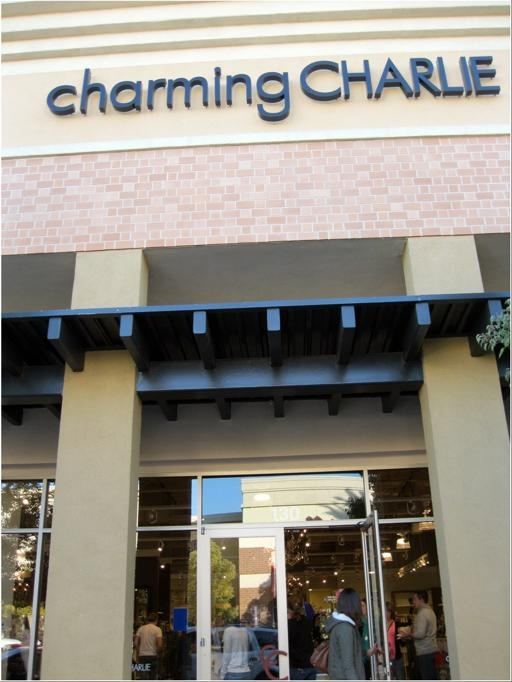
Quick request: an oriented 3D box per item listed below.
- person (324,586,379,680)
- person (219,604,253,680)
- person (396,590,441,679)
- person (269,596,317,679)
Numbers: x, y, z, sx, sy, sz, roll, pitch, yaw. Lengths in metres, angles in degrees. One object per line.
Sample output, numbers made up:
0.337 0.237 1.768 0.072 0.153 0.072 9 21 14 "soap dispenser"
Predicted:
0.835 2.764 5.311 0.335 0.778 0.317 -4 -24 7 "person"
-0.254 3.922 7.248 0.504 0.973 0.335 -8 -43 6 "person"
2.342 4.098 7.834 0.353 1.100 0.484 -10 -25 18 "person"
0.572 3.857 7.272 0.339 0.895 0.484 -3 -24 3 "person"
